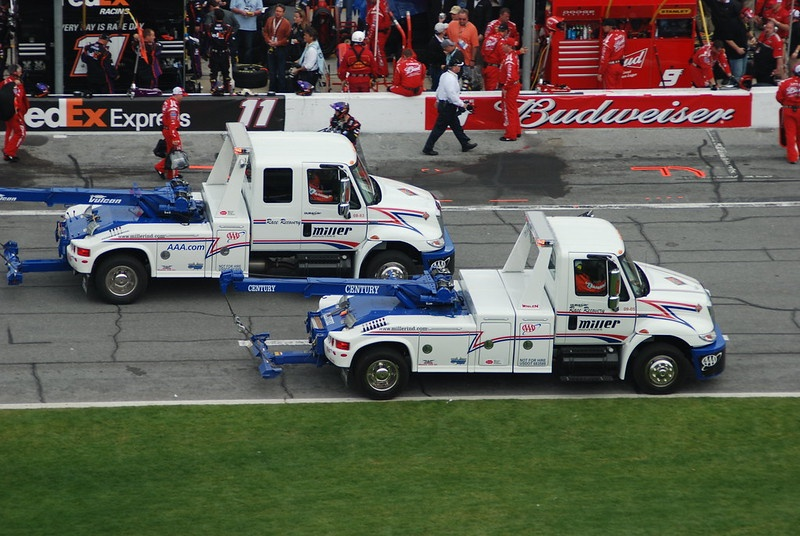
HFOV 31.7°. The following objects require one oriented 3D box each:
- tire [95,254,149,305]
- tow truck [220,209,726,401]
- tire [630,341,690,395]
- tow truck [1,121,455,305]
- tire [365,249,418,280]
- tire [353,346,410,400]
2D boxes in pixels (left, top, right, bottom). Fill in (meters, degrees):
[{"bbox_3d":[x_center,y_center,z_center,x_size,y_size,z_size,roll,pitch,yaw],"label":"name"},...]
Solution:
[{"bbox_3d":[-5.175,0.144,26.090,0.864,0.726,0.296,-25,25,-2],"label":"tire"},{"bbox_3d":[1.980,0.625,24.908,10.377,2.572,3.123,-2,26,-2],"label":"tow truck"},{"bbox_3d":[4.514,1.667,24.279,1.067,0.809,0.349,-8,16,0],"label":"tire"},{"bbox_3d":[-2.865,-1.102,27.252,9.790,2.683,3.232,-1,25,-6],"label":"tow truck"},{"bbox_3d":[-0.173,-0.096,26.614,0.751,0.559,0.211,-1,9,-1],"label":"tire"},{"bbox_3d":[-0.299,1.716,23.908,1.169,0.874,0.390,-1,16,-5],"label":"tire"}]
